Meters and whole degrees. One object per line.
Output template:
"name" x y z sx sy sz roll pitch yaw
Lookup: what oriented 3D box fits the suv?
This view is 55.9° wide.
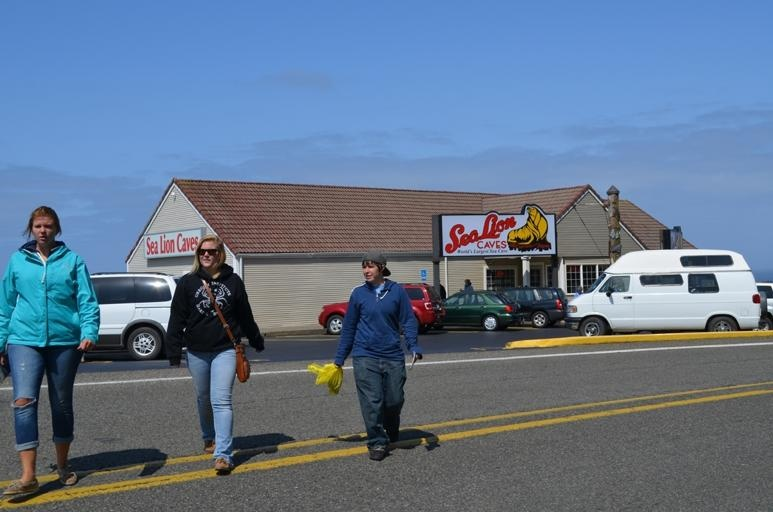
"suv" -0.220 2.236 28.255 4.482 1.943 2.216 1 1 12

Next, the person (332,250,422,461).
"person" -0.097 1.183 8.848 1.026 1.625 0.650 -3 -2 -5

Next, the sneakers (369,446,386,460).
"sneakers" -0.096 2.320 8.629 0.221 0.105 0.298 -3 -1 -2

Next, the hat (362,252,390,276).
"hat" -0.066 0.073 8.997 0.234 0.190 0.378 9 -13 33

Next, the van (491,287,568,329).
"van" 6.174 2.114 29.718 2.926 1.192 1.445 2 1 9

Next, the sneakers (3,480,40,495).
"sneakers" -3.713 2.349 7.410 0.369 0.147 0.141 3 -4 -20

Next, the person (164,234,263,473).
"person" -1.988 1.087 8.395 0.898 2.679 0.676 -4 -2 20
